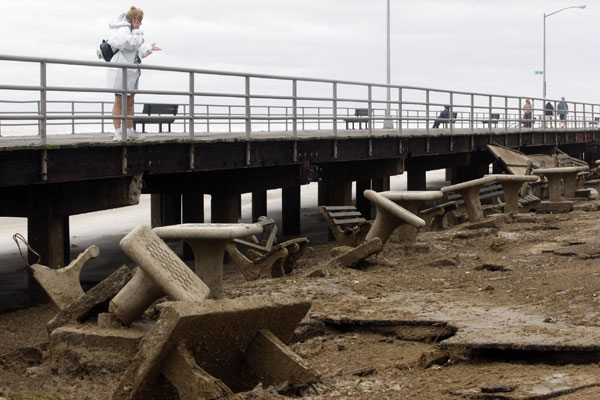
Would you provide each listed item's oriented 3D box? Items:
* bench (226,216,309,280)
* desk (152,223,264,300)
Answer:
[{"bbox_3d":[-0.694,0.989,14.795,1.799,1.282,1.258,-3,1,24],"label":"bench"},{"bbox_3d":[-1.380,0.937,11.300,1.577,1.110,1.475,-7,6,-14],"label":"desk"}]
